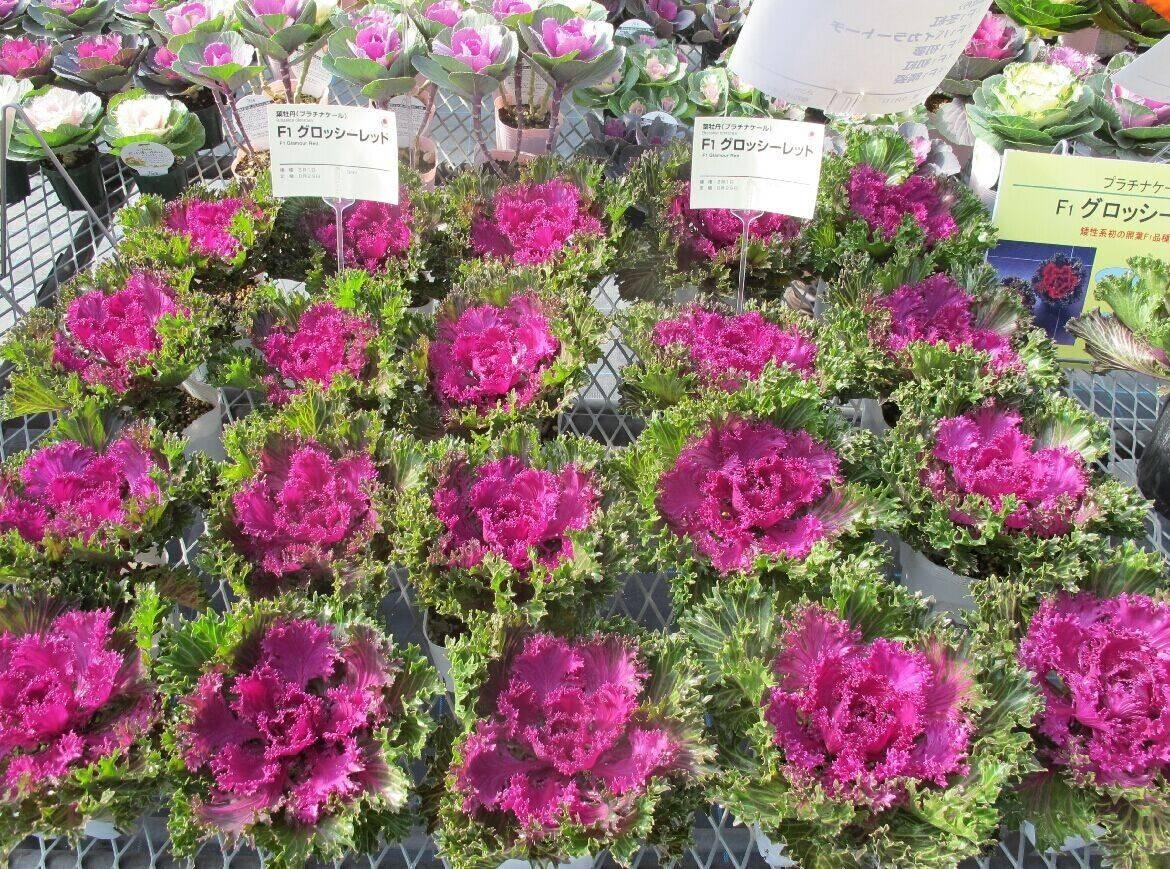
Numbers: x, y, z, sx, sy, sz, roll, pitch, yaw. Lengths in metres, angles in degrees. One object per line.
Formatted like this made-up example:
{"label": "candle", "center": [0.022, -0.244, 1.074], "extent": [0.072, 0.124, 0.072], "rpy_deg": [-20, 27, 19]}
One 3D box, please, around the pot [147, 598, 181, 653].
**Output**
{"label": "pot", "center": [-1.098, 0.500, 2.419], "extent": [0.079, 0.078, 0.118], "rpy_deg": [8, 64, -43]}

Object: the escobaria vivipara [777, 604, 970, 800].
{"label": "escobaria vivipara", "center": [0.692, 0.688, 2.313], "extent": [0.508, 0.219, 0.438], "rpy_deg": [16, 73, 4]}

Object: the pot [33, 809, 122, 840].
{"label": "pot", "center": [-1.244, 0.951, 2.299], "extent": [0.135, 0.108, 0.059], "rpy_deg": [-21, 84, 23]}

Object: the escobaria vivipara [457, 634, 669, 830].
{"label": "escobaria vivipara", "center": [-0.036, 0.724, 2.291], "extent": [0.523, 0.188, 0.471], "rpy_deg": [1, 72, -1]}

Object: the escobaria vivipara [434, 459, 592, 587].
{"label": "escobaria vivipara", "center": [-0.188, 0.202, 2.540], "extent": [0.448, 0.187, 0.349], "rpy_deg": [4, 72, 0]}

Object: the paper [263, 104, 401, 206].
{"label": "paper", "center": [-0.829, -0.925, 3.089], "extent": [0.359, 0.305, 0.036], "rpy_deg": [2, 26, -5]}

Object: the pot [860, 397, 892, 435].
{"label": "pot", "center": [0.995, -0.063, 3.246], "extent": [0.066, 0.116, 0.143], "rpy_deg": [-5, 77, 7]}
